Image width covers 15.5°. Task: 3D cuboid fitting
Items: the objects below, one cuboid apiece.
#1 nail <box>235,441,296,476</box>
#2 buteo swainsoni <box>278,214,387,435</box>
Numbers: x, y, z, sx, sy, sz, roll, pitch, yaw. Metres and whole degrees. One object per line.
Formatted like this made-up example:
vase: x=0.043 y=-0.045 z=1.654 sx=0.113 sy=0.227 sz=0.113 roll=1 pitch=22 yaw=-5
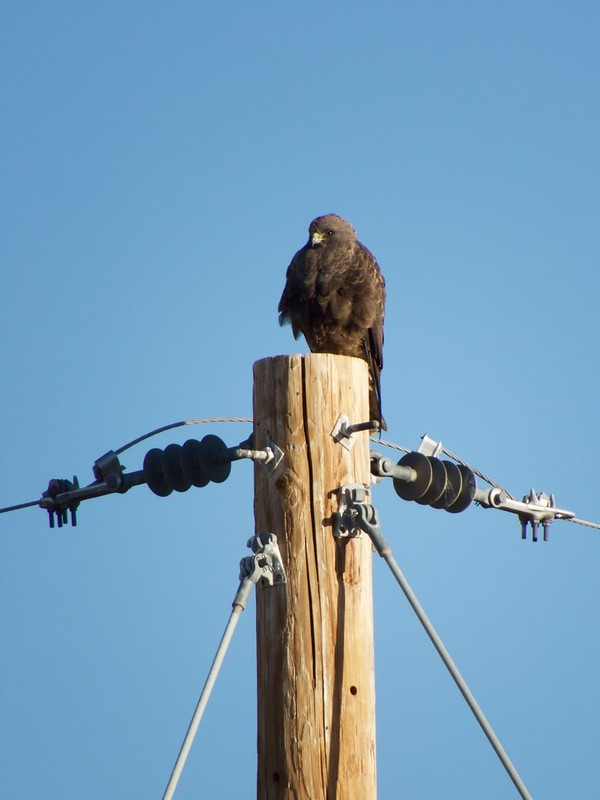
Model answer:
nail: x=-0.092 y=0.164 z=6.443 sx=0.086 sy=0.142 sz=0.129 roll=-1 pitch=-12 yaw=35
buteo swainsoni: x=0.115 y=-0.351 z=9.206 sx=0.388 sy=1.029 sz=0.442 roll=-10 pitch=-8 yaw=41
